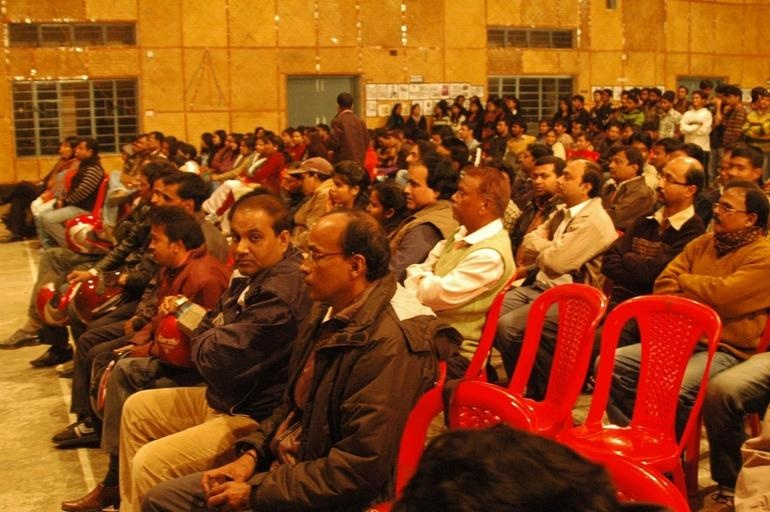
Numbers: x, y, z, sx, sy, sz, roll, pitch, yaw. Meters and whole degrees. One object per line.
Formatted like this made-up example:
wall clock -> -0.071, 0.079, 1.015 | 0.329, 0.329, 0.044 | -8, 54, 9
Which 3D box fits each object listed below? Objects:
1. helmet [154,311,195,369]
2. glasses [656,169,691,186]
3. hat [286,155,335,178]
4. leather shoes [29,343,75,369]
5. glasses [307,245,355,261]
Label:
helmet -> -1.322, 0.518, 3.839 | 0.343, 0.317, 0.310 | -4, 18, -23
glasses -> 2.231, -0.592, 4.499 | 0.149, 0.040, 0.145 | 16, -3, -14
hat -> -0.879, -1.068, 7.110 | 0.598, 0.233, 0.364 | 1, 6, -1
leather shoes -> -3.469, 1.055, 6.204 | 0.472, 0.186, 0.168 | -8, 6, -42
glasses -> -0.284, -0.009, 2.796 | 0.272, 0.060, 0.079 | 3, 6, 29
